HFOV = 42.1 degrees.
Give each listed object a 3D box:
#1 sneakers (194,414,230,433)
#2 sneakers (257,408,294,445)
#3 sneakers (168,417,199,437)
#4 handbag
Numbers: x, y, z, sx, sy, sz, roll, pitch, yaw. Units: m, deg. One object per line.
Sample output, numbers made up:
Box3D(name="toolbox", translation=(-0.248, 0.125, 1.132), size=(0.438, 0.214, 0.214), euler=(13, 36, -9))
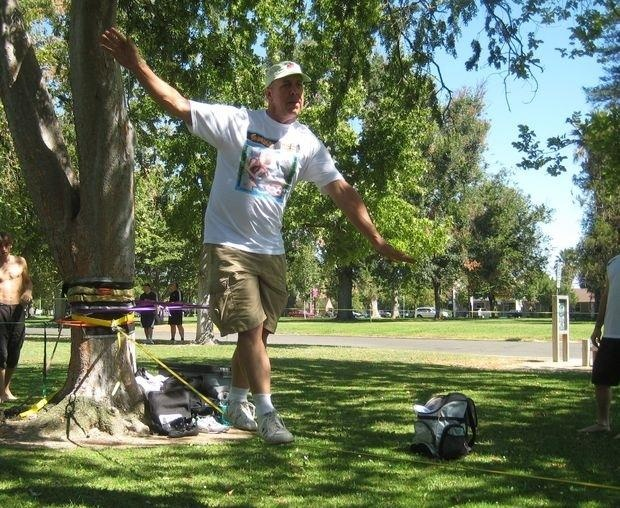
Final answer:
Box3D(name="sneakers", translation=(-1.024, 1.758, 8.249), size=(0.375, 0.176, 0.139), euler=(3, -4, 4))
Box3D(name="sneakers", translation=(-0.291, 1.431, 6.597), size=(0.313, 0.265, 0.214), euler=(1, -7, 5))
Box3D(name="sneakers", translation=(-1.277, 1.775, 8.138), size=(0.258, 0.120, 0.146), euler=(13, -4, -11))
Box3D(name="handbag", translation=(1.243, 1.611, 7.531), size=(0.549, 0.560, 0.547), euler=(4, -10, -13))
